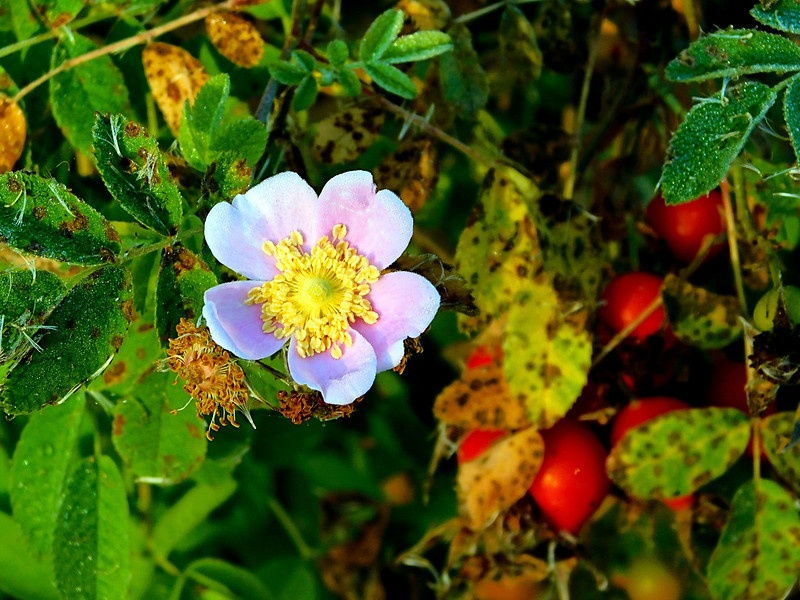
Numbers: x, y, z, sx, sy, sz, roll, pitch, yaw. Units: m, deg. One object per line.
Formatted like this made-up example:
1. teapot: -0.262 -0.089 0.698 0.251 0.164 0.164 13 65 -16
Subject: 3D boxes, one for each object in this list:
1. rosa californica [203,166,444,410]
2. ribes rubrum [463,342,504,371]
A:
1. rosa californica: -0.091 -0.010 0.957 0.243 0.069 0.254 -20 76 -9
2. ribes rubrum: 0.103 0.074 1.075 0.038 0.044 0.031 9 73 0
